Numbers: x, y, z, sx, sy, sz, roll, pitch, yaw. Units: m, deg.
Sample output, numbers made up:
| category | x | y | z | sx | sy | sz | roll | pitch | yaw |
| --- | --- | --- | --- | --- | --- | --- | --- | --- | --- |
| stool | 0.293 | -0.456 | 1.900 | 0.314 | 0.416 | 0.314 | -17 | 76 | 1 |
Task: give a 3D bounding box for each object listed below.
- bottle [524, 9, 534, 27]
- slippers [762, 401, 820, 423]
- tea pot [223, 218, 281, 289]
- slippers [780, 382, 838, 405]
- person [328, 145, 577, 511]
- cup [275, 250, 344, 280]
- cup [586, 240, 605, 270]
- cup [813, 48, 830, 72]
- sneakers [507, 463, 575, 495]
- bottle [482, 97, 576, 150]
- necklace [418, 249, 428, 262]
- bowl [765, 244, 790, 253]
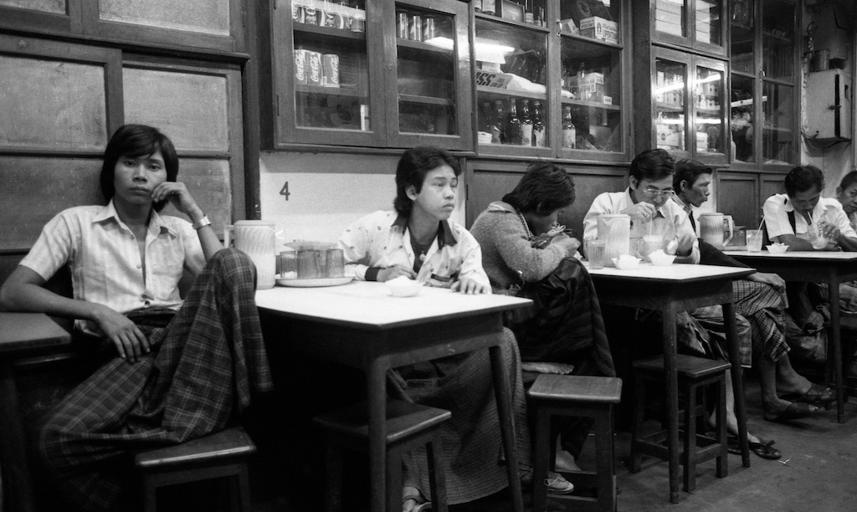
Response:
| category | x | y | z | sx | sy | sz | roll | pitch | yaw |
| --- | --- | --- | --- | --- | --- | --- | --- | --- | --- |
| bottle | 0.788 | -1.879 | 4.993 | 0.078 | 0.121 | 0.134 | 0 | 6 | 16 |
| slippers | 2.583 | 1.102 | 4.479 | 0.324 | 0.116 | 0.165 | -4 | -3 | 26 |
| tea pot | -0.971 | -0.018 | 3.476 | 0.413 | 0.430 | 0.267 | 0 | 3 | 27 |
| slippers | 2.809 | 1.029 | 4.654 | 0.363 | 0.094 | 0.167 | -3 | 5 | 28 |
| person | 0.093 | 0.376 | 3.550 | 0.795 | 1.989 | 1.105 | -6 | 7 | -35 |
| cup | -0.658 | 0.052 | 3.551 | 0.203 | 0.127 | 0.267 | -2 | 3 | -35 |
| cup | 1.086 | -0.002 | 4.187 | 0.155 | 0.235 | 0.152 | -1 | 1 | 0 |
| cup | 4.505 | -2.247 | 7.263 | 0.165 | 0.249 | 0.090 | 1 | 6 | 27 |
| sneakers | 0.610 | 1.232 | 3.438 | 0.321 | 0.124 | 0.153 | 14 | 30 | 17 |
| bottle | 0.649 | -1.047 | 4.935 | 0.653 | 0.386 | 0.107 | -5 | 6 | -29 |
| necklace | -0.036 | 0.002 | 3.731 | 0.045 | 0.053 | 0.026 | -5 | -7 | -14 |
| bowl | 2.717 | -0.049 | 4.897 | 0.111 | 0.035 | 0.109 | -3 | 2 | 0 |
